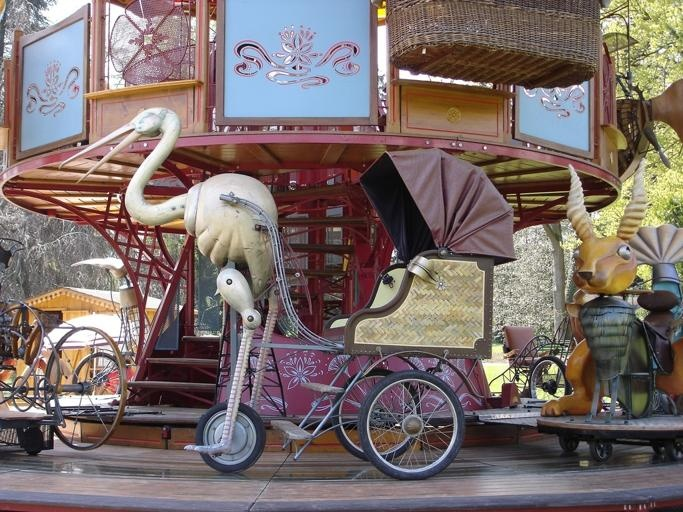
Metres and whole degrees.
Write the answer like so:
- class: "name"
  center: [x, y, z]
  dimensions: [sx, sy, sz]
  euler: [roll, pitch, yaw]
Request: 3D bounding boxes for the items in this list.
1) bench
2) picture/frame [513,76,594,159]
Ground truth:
- class: "bench"
  center: [0.885, 0.596, 10.987]
  dimensions: [1.505, 1.039, 1.101]
  euler: [0, -4, -2]
- class: "picture/frame"
  center: [3.033, -1.998, 13.612]
  dimensions: [1.537, 1.133, 0.195]
  euler: [3, -4, -37]
